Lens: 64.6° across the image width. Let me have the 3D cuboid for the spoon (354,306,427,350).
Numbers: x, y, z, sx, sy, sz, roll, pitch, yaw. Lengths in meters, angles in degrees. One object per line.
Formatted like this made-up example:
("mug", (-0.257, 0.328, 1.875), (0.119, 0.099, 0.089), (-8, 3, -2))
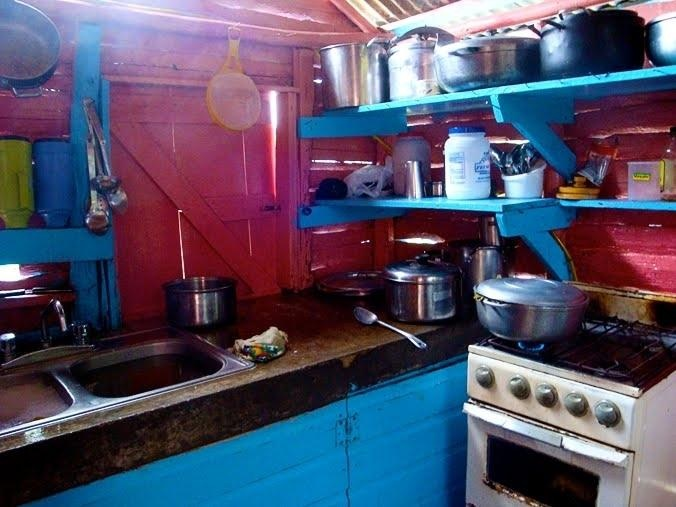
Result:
("spoon", (0.199, 0.295, 2.413), (0.115, 0.077, 0.537), (-1, 10, -34))

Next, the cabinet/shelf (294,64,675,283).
("cabinet/shelf", (0.655, -0.304, 2.521), (1.667, 0.868, 0.673), (6, 13, 43))

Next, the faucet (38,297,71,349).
("faucet", (-1.153, 0.271, 2.164), (0.108, 0.219, 0.373), (-9, 11, -27))

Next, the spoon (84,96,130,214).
("spoon", (-0.962, -0.406, 2.178), (0.116, 0.461, 0.156), (-10, 12, -34))
